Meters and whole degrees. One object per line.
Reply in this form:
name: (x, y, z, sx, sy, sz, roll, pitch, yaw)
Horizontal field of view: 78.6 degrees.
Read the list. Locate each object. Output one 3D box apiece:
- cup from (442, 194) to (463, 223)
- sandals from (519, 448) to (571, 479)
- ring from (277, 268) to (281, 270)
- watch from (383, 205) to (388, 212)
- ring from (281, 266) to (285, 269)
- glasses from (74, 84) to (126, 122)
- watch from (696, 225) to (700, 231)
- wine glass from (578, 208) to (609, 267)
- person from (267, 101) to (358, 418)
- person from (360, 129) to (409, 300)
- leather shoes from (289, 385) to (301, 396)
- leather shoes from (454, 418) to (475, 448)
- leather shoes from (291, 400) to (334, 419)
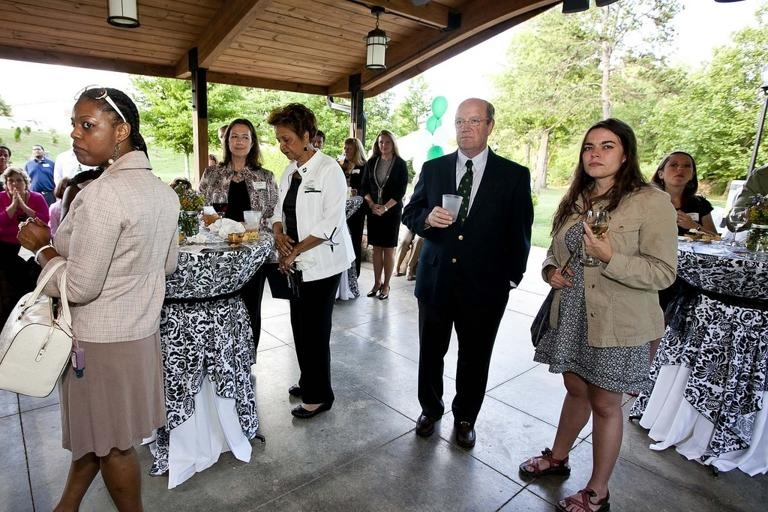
cup: (0.431, -0.325, 3.076, 0.168, 0.169, 0.167, 0, 5, 0)
sandals: (1.073, 1.397, 3.192, 0.335, 0.141, 0.153, 2, 0, 1)
ring: (-0.762, 0.084, 3.389, 0.025, 0.013, 0.013, 6, -8, 19)
watch: (0.016, -0.599, 5.786, 0.055, 0.066, 0.039, -1, 12, -16)
ring: (-0.717, 0.070, 3.328, 0.018, 0.009, 0.024, 22, -19, -19)
glasses: (-1.415, -0.790, 2.370, 0.184, 0.056, 0.188, 27, -9, 22)
watch: (2.564, -0.238, 3.836, 0.041, 0.018, 0.046, -3, 40, 11)
wine glass: (1.242, -0.116, 2.767, 0.128, 0.353, 0.235, 8, 13, 24)
person: (-0.553, 0.062, 3.509, 0.608, 2.306, 0.412, 3, 12, 3)
person: (-0.047, -0.537, 5.977, 0.546, 2.062, 0.472, 11, 15, 35)
leather shoes: (-0.738, 1.082, 3.850, 0.064, 0.041, 0.110, 0, 6, -6)
leather shoes: (0.581, 1.260, 3.366, 0.106, 0.080, 0.209, 0, 2, -5)
leather shoes: (-0.561, 1.168, 3.620, 0.222, 0.056, 0.119, 5, -5, -29)
